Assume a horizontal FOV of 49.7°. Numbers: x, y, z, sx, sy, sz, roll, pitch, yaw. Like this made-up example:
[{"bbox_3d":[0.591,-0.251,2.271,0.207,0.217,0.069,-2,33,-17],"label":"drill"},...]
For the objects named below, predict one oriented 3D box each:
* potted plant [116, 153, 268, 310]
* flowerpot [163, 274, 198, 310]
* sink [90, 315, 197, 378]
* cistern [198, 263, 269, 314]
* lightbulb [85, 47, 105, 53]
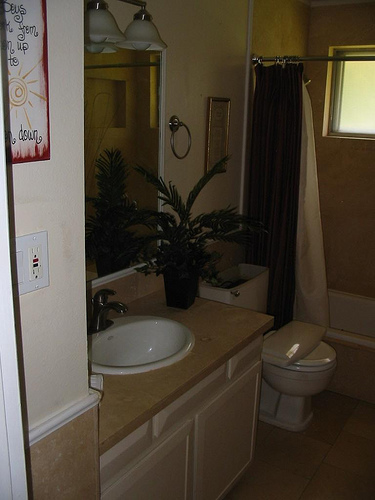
[{"bbox_3d":[0.014,-0.063,1.960,0.476,0.740,0.653,-4,5,-19],"label":"potted plant"},{"bbox_3d":[-0.031,0.178,1.899,0.140,0.172,0.130,7,16,19],"label":"flowerpot"},{"bbox_3d":[-0.166,0.381,1.510,0.381,0.179,0.410,0,15,-15],"label":"sink"},{"bbox_3d":[0.303,0.297,2.512,0.271,0.306,0.630,12,16,29],"label":"cistern"},{"bbox_3d":[-0.348,-0.763,1.538,0.012,0.030,0.080,11,16,29],"label":"lightbulb"}]
